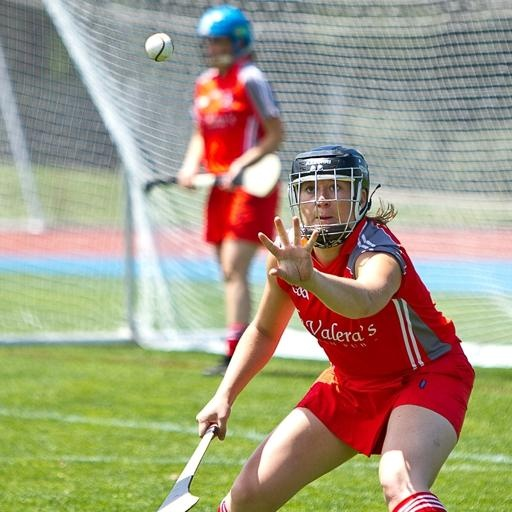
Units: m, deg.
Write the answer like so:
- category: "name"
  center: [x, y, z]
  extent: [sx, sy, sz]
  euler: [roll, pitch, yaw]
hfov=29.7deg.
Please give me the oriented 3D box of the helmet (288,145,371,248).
- category: "helmet"
  center: [0.311, -0.248, 3.708]
  extent: [0.327, 0.382, 0.342]
  euler: [4, 13, 15]

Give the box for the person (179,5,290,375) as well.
- category: "person"
  center: [-0.078, -0.520, 5.878]
  extent: [0.758, 1.911, 0.616]
  euler: [1, 1, -43]

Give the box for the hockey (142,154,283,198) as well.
- category: "hockey"
  center: [-0.271, -0.476, 5.598]
  extent: [0.598, 0.256, 0.519]
  euler: [12, 17, 43]
